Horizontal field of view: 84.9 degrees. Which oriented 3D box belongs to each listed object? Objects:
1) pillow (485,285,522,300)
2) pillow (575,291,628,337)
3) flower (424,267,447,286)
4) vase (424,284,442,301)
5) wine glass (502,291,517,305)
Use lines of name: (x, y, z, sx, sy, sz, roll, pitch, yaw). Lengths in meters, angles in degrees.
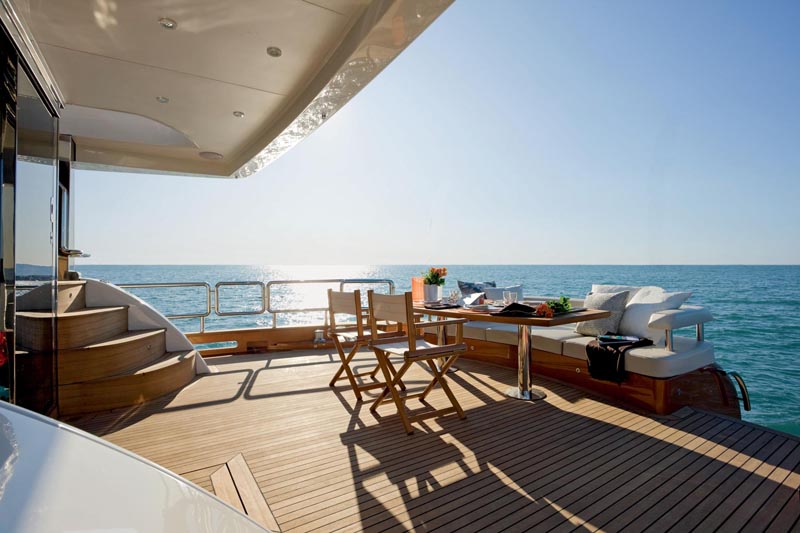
pillow: (1.180, 0.304, 5.159, 0.267, 0.071, 0.250, -5, -10, -9)
pillow: (2.109, 0.497, 4.525, 0.259, 0.391, 0.478, 8, -6, -25)
flower: (0.399, 0.094, 4.744, 0.221, 0.200, 0.212, -1, 3, -30)
vase: (0.356, 0.275, 4.639, 0.182, 0.235, 0.179, 5, 9, 26)
wine glass: (1.105, 0.317, 4.403, 0.134, 0.136, 0.129, -2, -2, 19)
